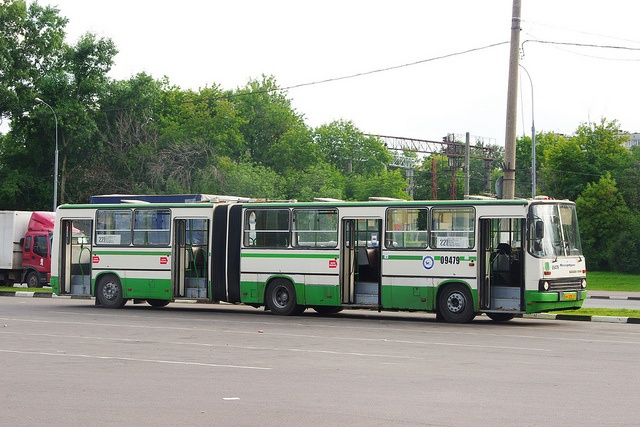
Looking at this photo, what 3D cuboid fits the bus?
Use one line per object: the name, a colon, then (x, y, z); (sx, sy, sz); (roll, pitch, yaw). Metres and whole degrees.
bus: (-0.427, 1.560, 28.352); (17.670, 4.227, 2.381); (-1, -5, 11)
